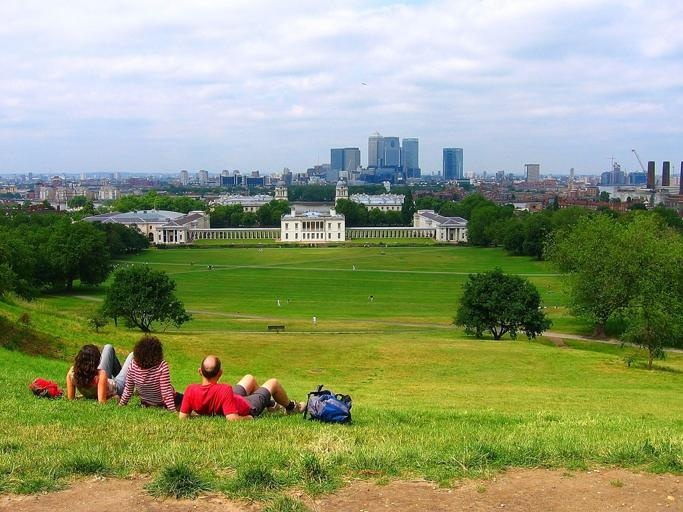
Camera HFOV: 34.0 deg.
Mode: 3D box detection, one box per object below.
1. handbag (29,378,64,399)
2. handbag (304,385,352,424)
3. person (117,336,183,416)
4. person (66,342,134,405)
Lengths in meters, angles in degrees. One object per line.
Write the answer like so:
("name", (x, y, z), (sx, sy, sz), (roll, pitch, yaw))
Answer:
("handbag", (-7.417, 3.335, 28.052), (0.797, 0.411, 0.841), (-2, 2, -15))
("handbag", (-0.160, 3.620, 27.238), (1.354, 0.585, 1.296), (8, 2, -1))
("person", (-4.623, 2.829, 27.060), (1.443, 1.854, 0.795), (-2, 2, -5))
("person", (-6.264, 2.833, 28.353), (1.066, 1.349, 2.715), (-3, 7, -1))
